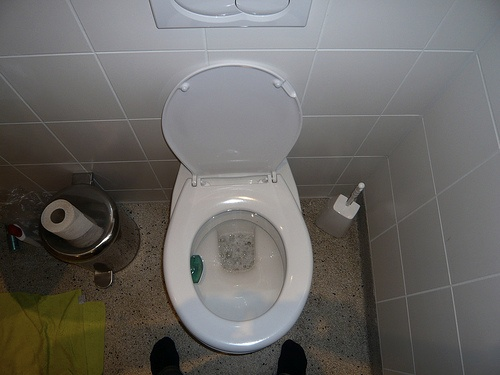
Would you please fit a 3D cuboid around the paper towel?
[{"bbox_3d":[-0.708,0.128,1.351,0.147,0.178,0.166,-5,81,-10],"label":"paper towel"}]

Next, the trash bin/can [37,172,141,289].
[{"bbox_3d":[-0.724,0.197,1.522,0.285,0.505,0.430,-8,79,-5],"label":"trash bin/can"}]
